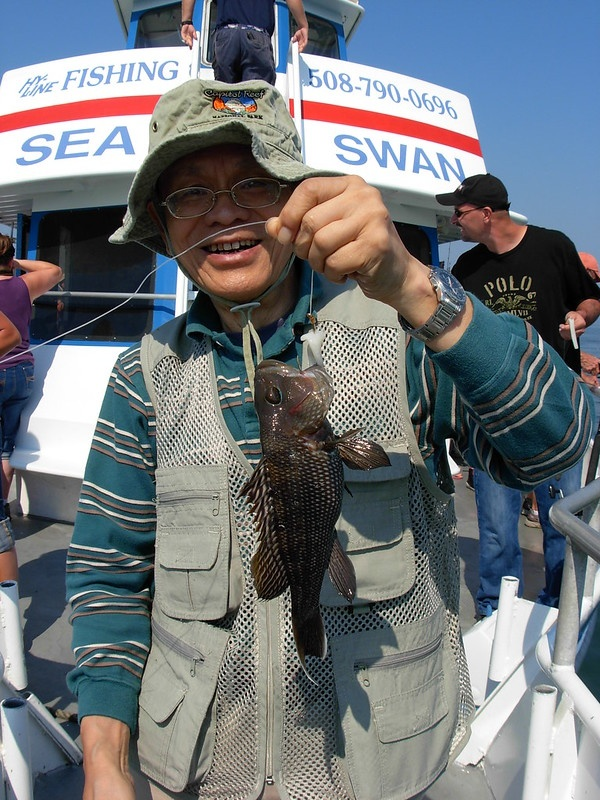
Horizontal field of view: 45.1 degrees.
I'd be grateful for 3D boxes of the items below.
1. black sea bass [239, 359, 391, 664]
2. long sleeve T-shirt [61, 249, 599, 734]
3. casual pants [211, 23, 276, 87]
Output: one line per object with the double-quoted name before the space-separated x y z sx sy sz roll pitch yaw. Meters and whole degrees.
"black sea bass" 0.003 0.209 1.643 0.343 0.629 0.306 0 2 22
"long sleeve T-shirt" -0.133 0.211 2.138 1.221 1.238 0.499 -1 11 6
"casual pants" -0.421 -2.415 5.178 0.413 0.508 0.304 6 44 0
